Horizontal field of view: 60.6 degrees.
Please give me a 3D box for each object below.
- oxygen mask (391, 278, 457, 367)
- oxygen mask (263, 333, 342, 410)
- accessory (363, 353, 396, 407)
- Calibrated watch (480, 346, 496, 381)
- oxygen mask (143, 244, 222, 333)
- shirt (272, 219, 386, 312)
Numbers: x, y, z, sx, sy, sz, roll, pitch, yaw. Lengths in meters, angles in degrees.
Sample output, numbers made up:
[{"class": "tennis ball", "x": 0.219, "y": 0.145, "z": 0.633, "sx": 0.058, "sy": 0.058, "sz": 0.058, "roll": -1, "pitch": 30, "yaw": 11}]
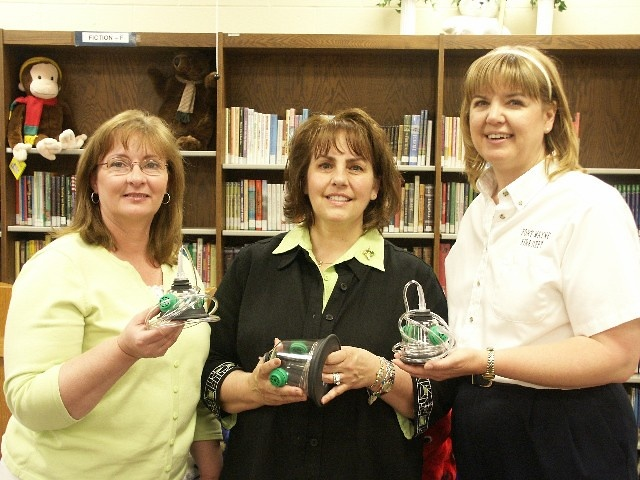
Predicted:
[{"class": "oxygen mask", "x": 0.320, "y": 0.265, "z": 1.726, "sx": 0.186, "sy": 0.262, "sz": 0.187, "roll": -11, "pitch": 11, "yaw": -41}, {"class": "oxygen mask", "x": -0.013, "y": 0.442, "z": 1.724, "sx": 0.206, "sy": 0.264, "sz": 0.232, "roll": 11, "pitch": -18, "yaw": -24}, {"class": "accessory", "x": 0.201, "y": 0.456, "z": 1.765, "sx": 0.051, "sy": 0.135, "sz": 0.101, "roll": 8, "pitch": -15, "yaw": 40}, {"class": "Calibrated watch", "x": 0.523, "y": 0.390, "z": 1.691, "sx": 0.037, "sy": 0.103, "sz": 0.049, "roll": 1, "pitch": 6, "yaw": 29}, {"class": "oxygen mask", "x": -0.421, "y": 0.136, "z": 1.627, "sx": 0.205, "sy": 0.223, "sz": 0.203, "roll": 0, "pitch": 1, "yaw": -10}, {"class": "shirt", "x": 0.035, "y": 0.104, "z": 1.935, "sx": 0.264, "sy": 0.252, "sz": 0.115, "roll": 8, "pitch": -17, "yaw": 12}]
